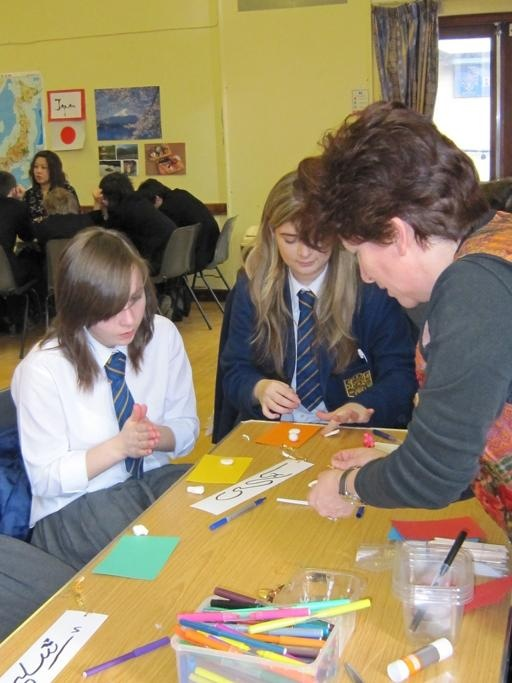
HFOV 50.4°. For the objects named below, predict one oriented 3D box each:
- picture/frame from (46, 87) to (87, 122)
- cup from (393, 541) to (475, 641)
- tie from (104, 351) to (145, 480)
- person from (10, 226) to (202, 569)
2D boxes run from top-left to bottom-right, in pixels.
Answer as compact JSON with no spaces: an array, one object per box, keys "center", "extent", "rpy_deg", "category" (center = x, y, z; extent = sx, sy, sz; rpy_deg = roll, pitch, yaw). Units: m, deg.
[{"center":[-2.058,-2.620,5.991],"extent":[0.389,0.322,0.044],"rpy_deg":[2,9,13],"category":"picture/frame"},{"center":[0.180,0.257,0.572],"extent":[0.086,0.071,0.085],"rpy_deg":[-4,18,1],"category":"cup"},{"center":[-0.300,0.157,1.257],"extent":[0.076,0.316,0.032],"rpy_deg":[-9,2,-21],"category":"tie"},{"center":[-0.270,0.142,1.260],"extent":[0.517,0.718,0.509],"rpy_deg":[-1,19,-9],"category":"person"}]
